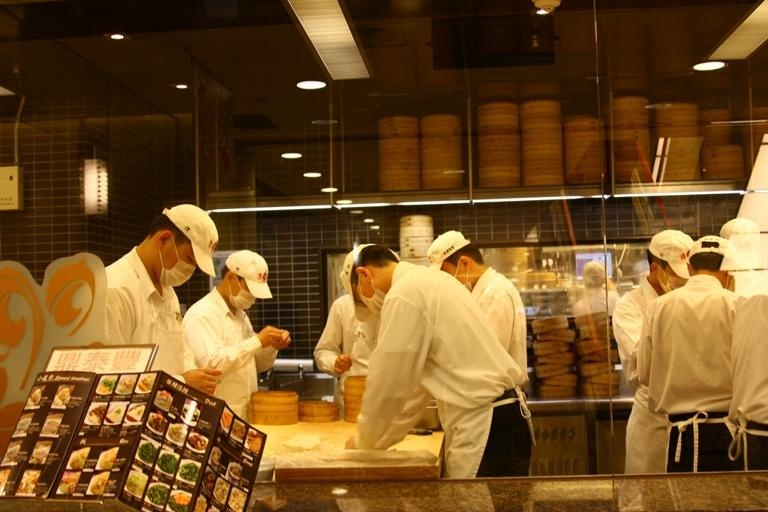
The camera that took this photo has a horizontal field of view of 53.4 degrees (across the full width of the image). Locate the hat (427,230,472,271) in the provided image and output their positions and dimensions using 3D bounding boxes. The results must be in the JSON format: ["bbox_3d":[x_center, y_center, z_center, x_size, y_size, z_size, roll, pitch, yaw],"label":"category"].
[{"bbox_3d":[0.230,-0.025,2.713,0.151,0.130,0.035,-2,-5,2],"label":"hat"}]

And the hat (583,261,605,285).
[{"bbox_3d":[0.775,0.065,2.801,0.067,0.091,0.092,0,-5,4],"label":"hat"}]

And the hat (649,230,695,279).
[{"bbox_3d":[1.049,-0.007,2.779,0.163,0.174,0.052,1,-5,-21],"label":"hat"}]

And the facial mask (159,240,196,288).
[{"bbox_3d":[-0.782,0.030,2.974,0.132,0.161,0.140,-22,-2,6],"label":"facial mask"}]

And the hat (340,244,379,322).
[{"bbox_3d":[-0.115,0.096,2.743,0.180,0.245,0.135,-5,-6,-26],"label":"hat"}]

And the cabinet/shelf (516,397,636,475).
[{"bbox_3d":[0.672,0.633,2.820,0.442,0.426,0.241,1,-17,1],"label":"cabinet/shelf"}]

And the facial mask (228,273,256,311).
[{"bbox_3d":[-0.496,0.133,2.764,0.065,0.112,0.096,-21,-6,3],"label":"facial mask"}]

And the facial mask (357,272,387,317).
[{"bbox_3d":[-0.035,0.141,2.796,0.068,0.123,0.114,-26,-7,7],"label":"facial mask"}]

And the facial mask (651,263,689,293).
[{"bbox_3d":[1.098,0.100,2.865,0.127,0.081,0.152,13,-6,34],"label":"facial mask"}]
